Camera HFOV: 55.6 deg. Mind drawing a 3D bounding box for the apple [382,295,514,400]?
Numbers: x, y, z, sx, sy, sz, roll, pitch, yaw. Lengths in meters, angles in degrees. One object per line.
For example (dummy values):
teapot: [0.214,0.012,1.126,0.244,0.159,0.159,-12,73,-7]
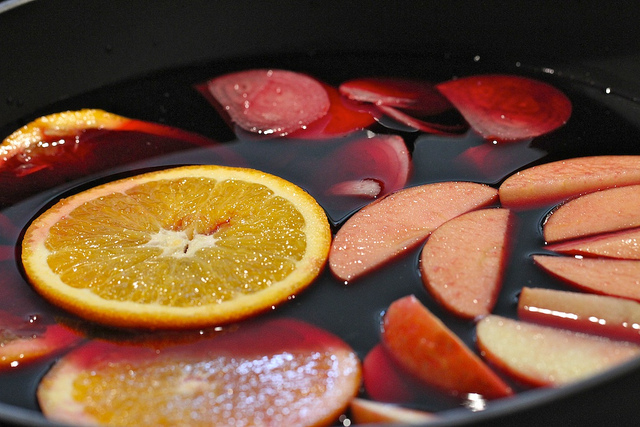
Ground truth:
apple: [0.184,0.200,0.930,0.112,0.065,0.231,-3,32,-29]
